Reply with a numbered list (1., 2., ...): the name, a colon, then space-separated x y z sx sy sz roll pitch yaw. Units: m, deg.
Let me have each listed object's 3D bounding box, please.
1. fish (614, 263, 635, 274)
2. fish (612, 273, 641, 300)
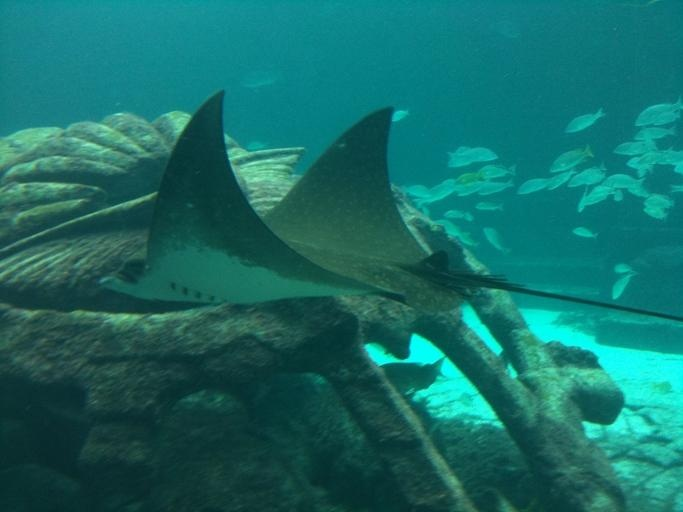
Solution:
1. fish: 6.970 0.278 20.068 0.606 0.079 0.372 7 -18 -29
2. fish: 6.919 0.630 19.949 1.815 0.543 0.239 -26 -32 -59
